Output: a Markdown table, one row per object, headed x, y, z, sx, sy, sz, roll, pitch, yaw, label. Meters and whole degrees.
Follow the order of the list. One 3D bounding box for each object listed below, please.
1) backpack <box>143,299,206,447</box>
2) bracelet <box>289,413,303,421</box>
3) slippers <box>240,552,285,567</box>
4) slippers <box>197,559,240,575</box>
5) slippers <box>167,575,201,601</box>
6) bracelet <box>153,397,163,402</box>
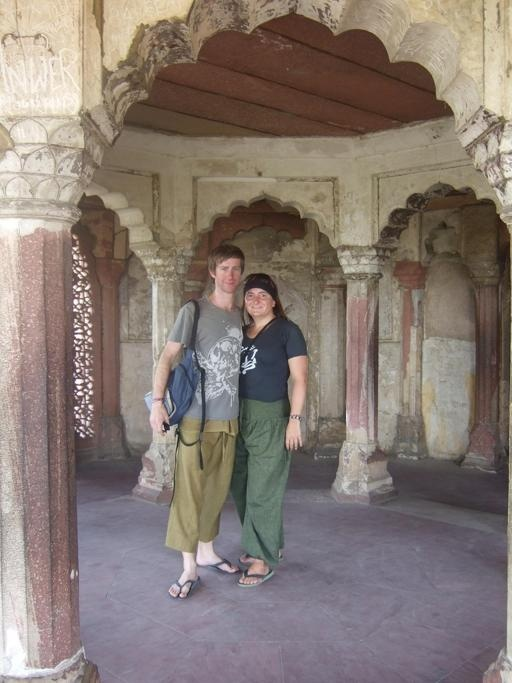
| x | y | z | sx | sy | sz | roll | pitch | yaw | label |
| --- | --- | --- | --- | --- | --- | --- | --- | --- | --- |
| -0.331 | 0.141 | 4.037 | 0.171 | 0.695 | 0.317 | 1 | 1 | 7 | backpack |
| 0.185 | 0.371 | 4.196 | 0.055 | 0.016 | 0.055 | 3 | 3 | 24 | bracelet |
| 0.016 | 1.195 | 4.701 | 0.101 | 0.091 | 0.263 | -3 | -12 | 18 | slippers |
| -0.197 | 1.178 | 4.469 | 0.208 | 0.045 | 0.077 | 1 | 6 | 20 | slippers |
| -0.357 | 1.200 | 4.195 | 0.132 | 0.080 | 0.252 | 1 | 2 | 5 | slippers |
| -0.452 | 0.267 | 3.955 | 0.046 | 0.025 | 0.031 | 1 | 2 | -11 | bracelet |
